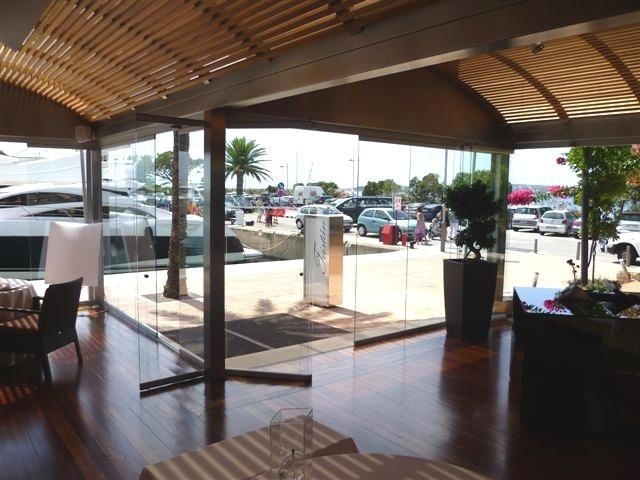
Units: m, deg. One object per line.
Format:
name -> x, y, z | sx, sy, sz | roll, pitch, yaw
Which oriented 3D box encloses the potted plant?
potted plant -> 2.196, 0.291, 6.507 | 0.769, 2.340, 0.423 | 3, 8, 20
